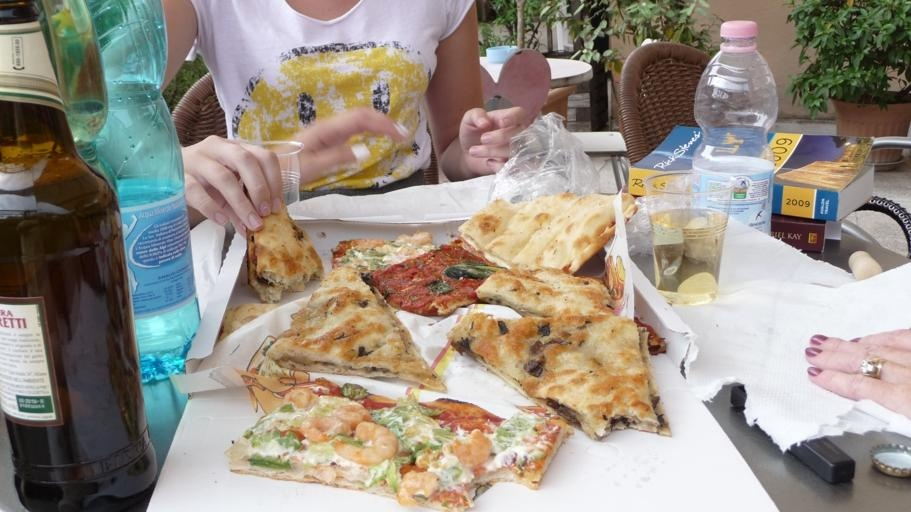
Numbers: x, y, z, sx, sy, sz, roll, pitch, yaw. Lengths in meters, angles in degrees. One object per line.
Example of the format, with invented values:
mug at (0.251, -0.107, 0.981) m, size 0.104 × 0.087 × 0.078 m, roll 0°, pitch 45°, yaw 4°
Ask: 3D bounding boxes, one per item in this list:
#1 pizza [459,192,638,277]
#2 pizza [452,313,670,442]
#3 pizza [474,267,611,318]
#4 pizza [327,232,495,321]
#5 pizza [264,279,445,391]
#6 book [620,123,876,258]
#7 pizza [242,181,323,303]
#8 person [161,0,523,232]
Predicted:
pizza at (0.208, -0.057, 1.418) m, size 0.246 × 0.058 × 0.244 m, roll 14°, pitch 51°, yaw 41°
pizza at (0.193, 0.210, 1.092) m, size 0.270 × 0.047 × 0.191 m, roll 14°, pitch 39°, yaw 23°
pizza at (0.177, 0.071, 1.236) m, size 0.186 × 0.048 × 0.116 m, roll 8°, pitch 38°, yaw 15°
pizza at (-0.022, 0.039, 1.384) m, size 0.263 × 0.038 × 0.341 m, roll 3°, pitch 28°, yaw 8°
pizza at (-0.222, 0.151, 1.166) m, size 0.253 × 0.069 × 0.335 m, roll -16°, pitch 47°, yaw -24°
book at (0.793, -0.149, 1.640) m, size 0.449 × 0.132 × 0.437 m, roll 16°, pitch 37°, yaw 27°
pizza at (-0.381, -0.029, 1.307) m, size 0.143 × 0.065 × 0.216 m, roll -25°, pitch 67°, yaw -35°
person at (-0.336, -0.448, 1.891) m, size 0.809 × 0.761 × 0.443 m, roll -8°, pitch 17°, yaw -19°
